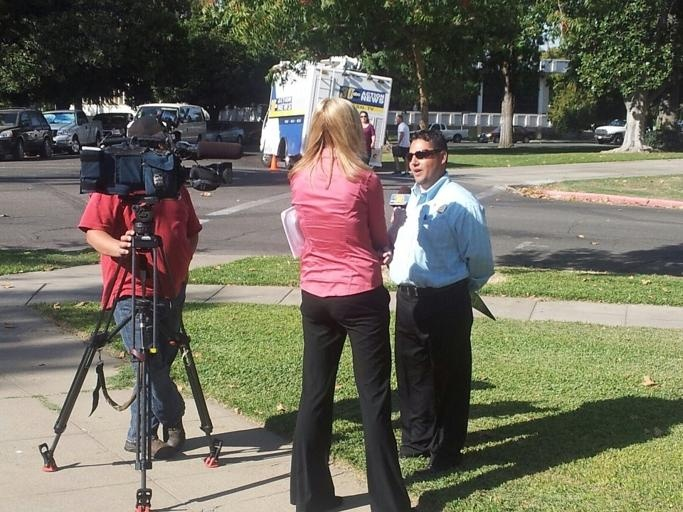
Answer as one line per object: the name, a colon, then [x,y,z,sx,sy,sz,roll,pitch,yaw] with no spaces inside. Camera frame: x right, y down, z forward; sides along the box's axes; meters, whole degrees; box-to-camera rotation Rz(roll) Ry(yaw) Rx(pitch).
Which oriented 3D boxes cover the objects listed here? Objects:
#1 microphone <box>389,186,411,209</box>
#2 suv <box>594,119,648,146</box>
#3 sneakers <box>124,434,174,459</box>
microphone: [0.392,-0.388,5.185,0.158,0.158,0.037,-2,-27,36]
suv: [20.148,-8.919,53.331,3.126,1.445,1.444,-4,6,-43]
sneakers: [-1.402,1.365,5.347,0.381,0.159,0.155,3,9,20]
